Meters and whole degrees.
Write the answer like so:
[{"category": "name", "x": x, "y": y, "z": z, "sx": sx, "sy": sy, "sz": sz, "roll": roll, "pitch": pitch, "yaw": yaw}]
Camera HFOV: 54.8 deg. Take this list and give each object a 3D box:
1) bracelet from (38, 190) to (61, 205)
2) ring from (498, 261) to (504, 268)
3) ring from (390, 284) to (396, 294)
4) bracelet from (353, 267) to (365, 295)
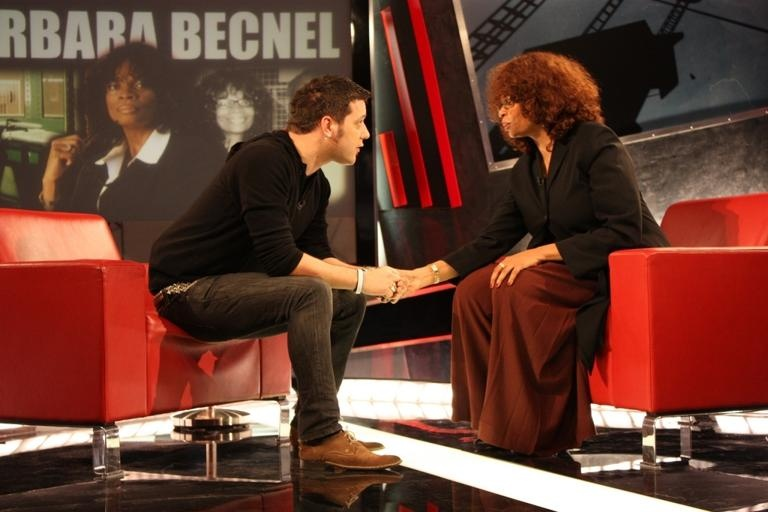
[{"category": "bracelet", "x": -2.253, "y": -0.384, "z": 4.981, "sx": 0.093, "sy": 0.108, "sz": 0.109, "roll": -2, "pitch": -12, "yaw": -15}, {"category": "ring", "x": 0.520, "y": 0.041, "z": 3.279, "sx": 0.021, "sy": 0.033, "sz": 0.015, "roll": 5, "pitch": -11, "yaw": 37}, {"category": "ring", "x": 0.046, "y": 0.156, "z": 3.357, "sx": 0.030, "sy": 0.037, "sz": 0.017, "roll": 7, "pitch": -7, "yaw": -41}, {"category": "bracelet", "x": -0.103, "y": 0.111, "z": 3.206, "sx": 0.034, "sy": 0.086, "sz": 0.081, "roll": 3, "pitch": -3, "yaw": -4}]
